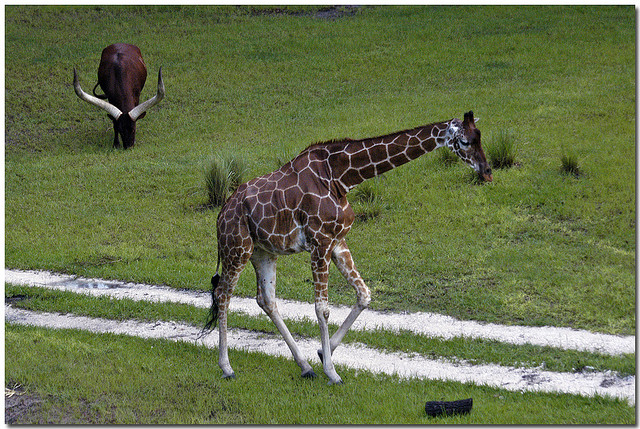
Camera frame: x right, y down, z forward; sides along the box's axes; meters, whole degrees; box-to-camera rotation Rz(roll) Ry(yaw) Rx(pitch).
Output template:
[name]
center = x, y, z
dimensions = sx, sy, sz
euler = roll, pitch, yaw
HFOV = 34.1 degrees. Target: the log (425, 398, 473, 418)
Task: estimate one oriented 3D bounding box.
[log]
center = 3.870, 5.968, 31.948
dimensions = 0.994, 0.363, 0.681
euler = 0, -25, -6
